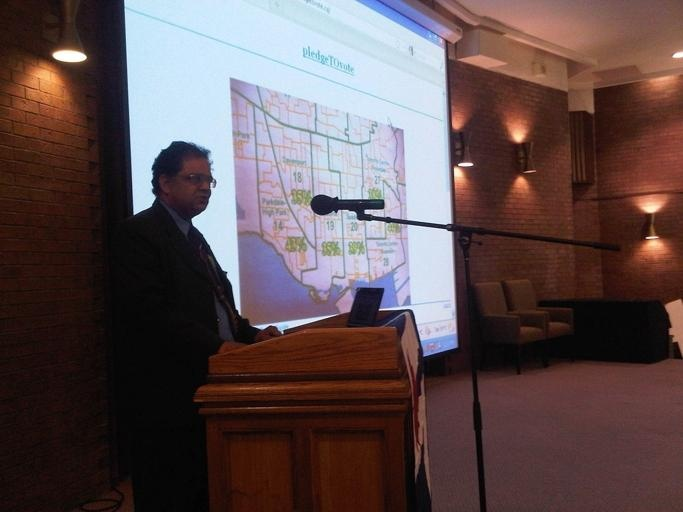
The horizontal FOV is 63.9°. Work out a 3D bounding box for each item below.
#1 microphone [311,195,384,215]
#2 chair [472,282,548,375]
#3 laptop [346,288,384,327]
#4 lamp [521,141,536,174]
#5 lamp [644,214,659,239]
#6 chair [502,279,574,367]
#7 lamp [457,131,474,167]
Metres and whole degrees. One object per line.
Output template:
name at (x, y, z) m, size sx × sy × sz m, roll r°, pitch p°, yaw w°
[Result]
microphone at (0.021, -0.232, 2.557) m, size 0.387 × 0.125 × 0.122 m, roll -1°, pitch -2°, yaw 9°
chair at (2.085, 0.822, 6.751) m, size 0.720 × 1.014 × 0.692 m, roll 0°, pitch -4°, yaw -35°
laptop at (0.095, 0.223, 2.379) m, size 0.150 × 0.149 × 0.359 m, roll -3°, pitch 1°, yaw 11°
lamp at (2.580, -1.335, 7.561) m, size 0.175 × 0.356 × 0.363 m, roll -3°, pitch 1°, yaw 23°
lamp at (5.164, -0.491, 9.124) m, size 0.234 × 0.325 × 0.245 m, roll -3°, pitch 1°, yaw 30°
chair at (2.539, 0.824, 7.037) m, size 0.749 × 1.020 × 0.810 m, roll -5°, pitch -4°, yaw 32°
lamp at (1.475, -1.279, 6.627) m, size 0.173 × 0.380 × 0.406 m, roll -3°, pitch 1°, yaw 13°
